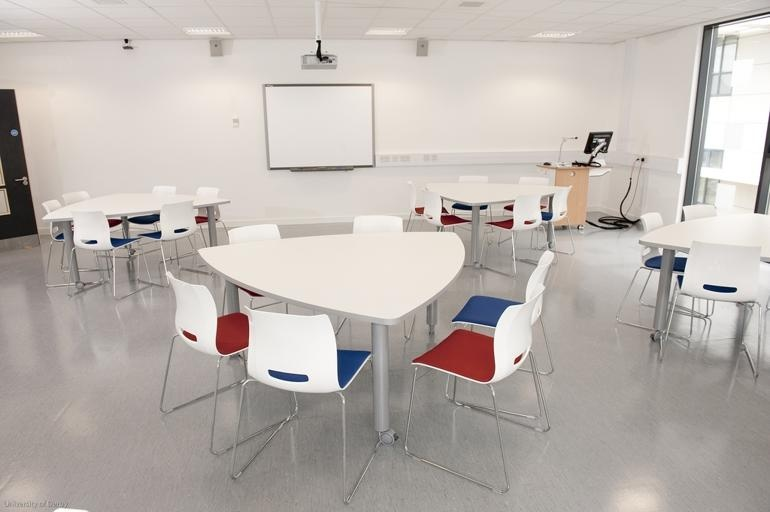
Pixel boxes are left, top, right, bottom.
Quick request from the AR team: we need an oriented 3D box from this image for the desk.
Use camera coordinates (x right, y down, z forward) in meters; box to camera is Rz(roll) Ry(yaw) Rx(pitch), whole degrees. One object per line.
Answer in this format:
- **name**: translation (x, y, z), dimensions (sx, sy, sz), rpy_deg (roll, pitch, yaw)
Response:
- **desk**: translation (3.303, -1.015, 8.918), dimensions (1.328, 1.167, 1.292), rpy_deg (-3, 15, -8)

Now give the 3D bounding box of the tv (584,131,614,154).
- **tv**: translation (3.818, -2.034, 8.818), dimensions (0.363, 0.372, 0.736), rpy_deg (7, 17, 27)

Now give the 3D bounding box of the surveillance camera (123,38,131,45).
- **surveillance camera**: translation (-4.391, -3.690, 8.420), dimensions (0.091, 0.090, 0.067), rpy_deg (-27, -12, -25)

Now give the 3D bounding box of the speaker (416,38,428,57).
- **speaker**: translation (0.716, -3.908, 9.207), dimensions (0.247, 0.298, 0.077), rpy_deg (-6, 17, -18)

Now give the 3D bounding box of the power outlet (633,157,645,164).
- **power outlet**: translation (4.805, -1.815, 9.310), dimensions (0.180, 0.058, 0.134), rpy_deg (-16, 15, -30)

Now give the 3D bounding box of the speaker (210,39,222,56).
- **speaker**: translation (-2.975, -3.709, 8.692), dimensions (0.241, 0.321, 0.174), rpy_deg (0, 8, -7)
